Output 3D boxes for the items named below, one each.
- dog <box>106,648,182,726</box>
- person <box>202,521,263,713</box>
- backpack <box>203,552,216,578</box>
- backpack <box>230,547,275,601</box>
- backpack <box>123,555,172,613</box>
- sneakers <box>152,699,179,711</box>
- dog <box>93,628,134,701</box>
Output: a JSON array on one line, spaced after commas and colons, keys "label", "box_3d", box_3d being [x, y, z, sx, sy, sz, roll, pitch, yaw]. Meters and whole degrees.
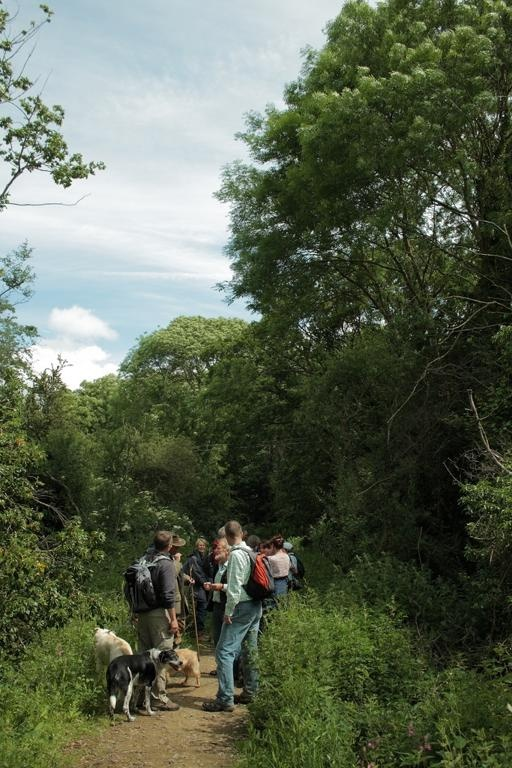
[{"label": "dog", "box_3d": [-1.193, 2.906, 7.042, 0.412, 0.650, 0.780, 1, 1, 43]}, {"label": "person", "box_3d": [-0.229, 2.302, 7.162, 0.582, 1.857, 0.351, -1, 1, -20]}, {"label": "backpack", "box_3d": [-0.649, 2.526, 10.079, 0.171, 0.341, 0.270, 6, -9, -9]}, {"label": "backpack", "box_3d": [0.062, 1.948, 7.281, 0.602, 0.527, 0.360, -4, -16, 1]}, {"label": "backpack", "box_3d": [-1.107, 2.012, 7.282, 0.632, 0.574, 0.465, 8, -15, -40]}, {"label": "sneakers", "box_3d": [-0.911, 3.201, 7.202, 0.209, 0.181, 0.102, 1, -26, -6]}, {"label": "dog", "box_3d": [-1.463, 2.798, 7.447, 0.263, 0.458, 0.886, -3, 3, -33]}]
